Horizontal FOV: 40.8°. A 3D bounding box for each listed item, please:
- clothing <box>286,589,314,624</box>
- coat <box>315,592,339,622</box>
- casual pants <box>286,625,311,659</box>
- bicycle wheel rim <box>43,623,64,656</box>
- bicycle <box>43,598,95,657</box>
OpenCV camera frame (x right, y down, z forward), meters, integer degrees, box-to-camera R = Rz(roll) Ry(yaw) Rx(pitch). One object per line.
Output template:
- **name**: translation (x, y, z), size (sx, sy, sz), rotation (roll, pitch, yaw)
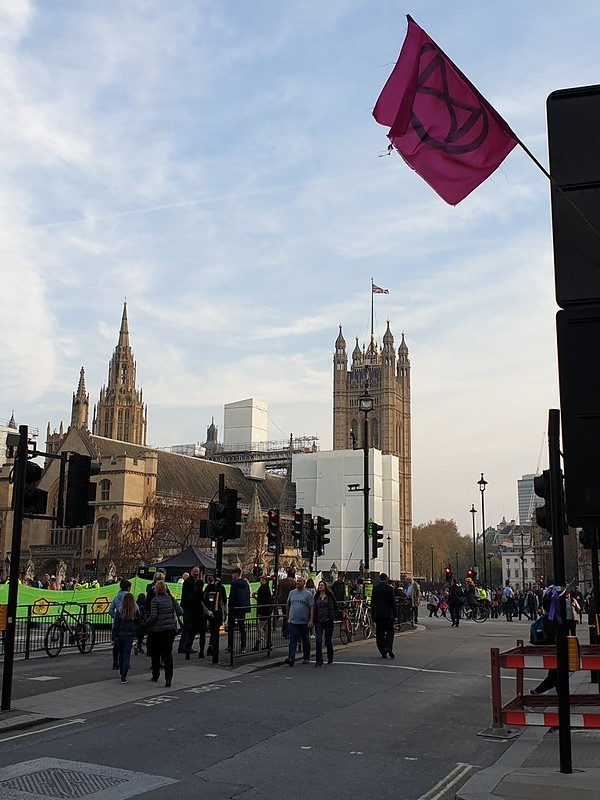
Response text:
- **clothing**: translation (0.022, 4.104, 16.063), size (0.506, 0.697, 0.365), rotation (-1, -12, -2)
- **coat**: translation (0.507, 4.210, 16.391), size (0.643, 0.598, 0.412), rotation (4, -13, -24)
- **casual pants**: translation (-0.013, 4.880, 16.223), size (0.438, 0.761, 0.808), rotation (-1, -12, -1)
- **bicycle wheel rim**: translation (-5.389, 5.213, 17.599), size (0.398, 0.694, 0.671), rotation (3, -13, -19)
- **bicycle**: translation (-5.280, 5.237, 18.185), size (0.729, 1.063, 1.581), rotation (-8, -17, 22)
